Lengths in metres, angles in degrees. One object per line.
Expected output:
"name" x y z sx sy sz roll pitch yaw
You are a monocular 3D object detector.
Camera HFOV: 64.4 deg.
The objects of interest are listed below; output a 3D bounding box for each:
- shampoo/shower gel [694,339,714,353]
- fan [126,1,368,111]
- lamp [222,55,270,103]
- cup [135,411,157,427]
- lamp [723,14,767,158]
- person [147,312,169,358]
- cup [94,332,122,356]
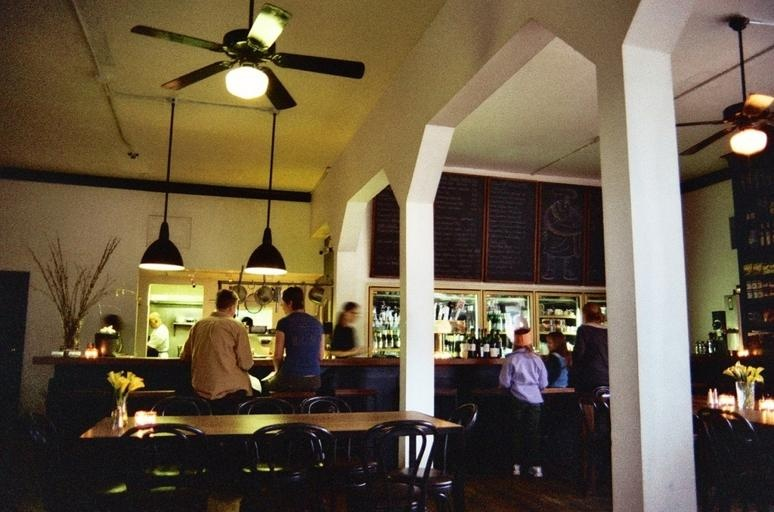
"shampoo/shower gel" 4.520 1.322 8.769 0.224 0.216 0.222 2 -4 27
"fan" -1.052 -1.484 4.780 1.223 0.801 1.244 -10 -17 43
"lamp" -1.065 -1.380 4.713 0.297 0.280 0.264 2 -8 -7
"cup" -1.845 1.251 4.714 0.143 0.095 0.139 2 -3 0
"lamp" 3.596 -1.527 6.159 0.402 1.175 1.595 -4 -10 30
"person" -3.500 1.207 9.421 0.296 0.675 1.560 5 -9 -21
"cup" -3.372 1.101 7.555 0.387 0.294 0.299 6 -11 -36
